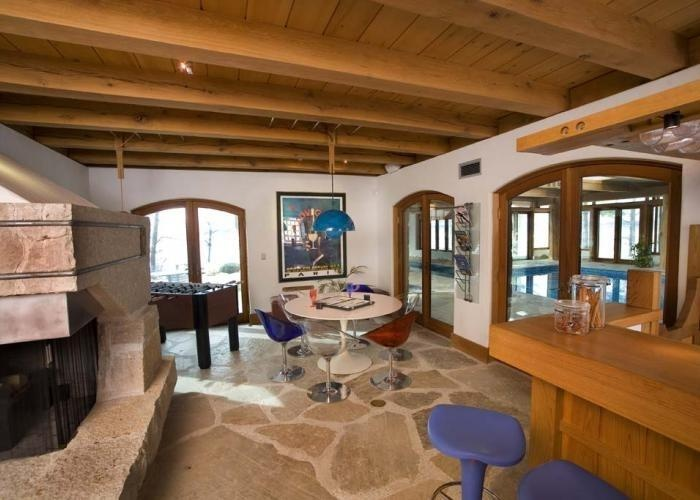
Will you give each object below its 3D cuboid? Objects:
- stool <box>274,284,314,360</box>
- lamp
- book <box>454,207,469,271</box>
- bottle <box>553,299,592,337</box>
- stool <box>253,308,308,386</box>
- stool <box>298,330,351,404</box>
[{"bbox_3d":[-0.621,0.954,6.211,0.552,0.746,0.509,2,-12,-32],"label":"stool"},{"bbox_3d":[-0.203,-0.750,5.366,0.538,1.145,0.514,-5,5,-41],"label":"lamp"},{"bbox_3d":[1.385,-0.115,5.844,0.105,0.861,0.319,-2,3,-19],"label":"book"},{"bbox_3d":[1.473,0.449,3.124,0.248,0.209,0.228,-1,3,-2],"label":"bottle"},{"bbox_3d":[-0.776,1.049,5.342,0.637,0.724,0.558,2,-3,-7],"label":"stool"},{"bbox_3d":[-0.235,1.139,4.808,0.420,0.750,0.850,-1,2,-1],"label":"stool"}]
